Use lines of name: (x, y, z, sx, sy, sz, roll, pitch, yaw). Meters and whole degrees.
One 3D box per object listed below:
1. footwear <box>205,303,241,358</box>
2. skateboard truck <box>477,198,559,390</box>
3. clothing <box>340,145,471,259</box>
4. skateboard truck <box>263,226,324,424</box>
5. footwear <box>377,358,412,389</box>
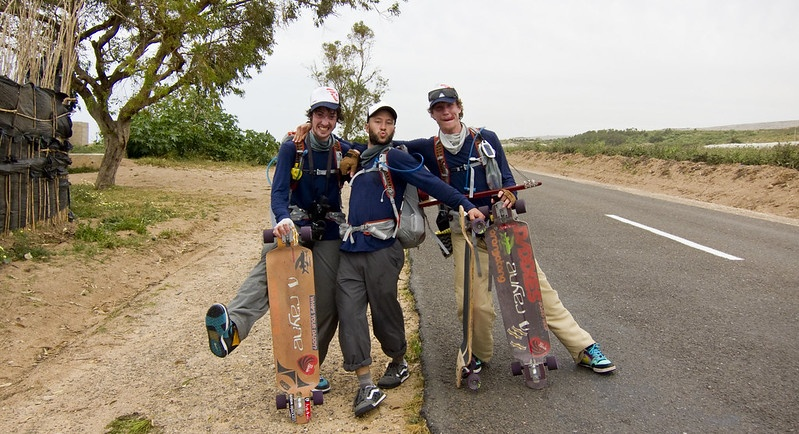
footwear: (-2.309, 1.470, 5.910, 0.314, 0.821, 0.596, -2, -3, 6)
skateboard truck: (1.653, 0.986, 6.485, 0.767, 2.868, 0.414, -14, -3, 4)
clothing: (0.164, -0.235, 6.501, 1.638, 1.119, 1.495, 14, -25, -40)
skateboard truck: (-1.447, 1.414, 6.176, 0.707, 2.651, 0.434, -3, 2, -8)
footwear: (-0.060, 2.249, 6.388, 0.251, 0.237, 0.529, -5, -2, 30)
